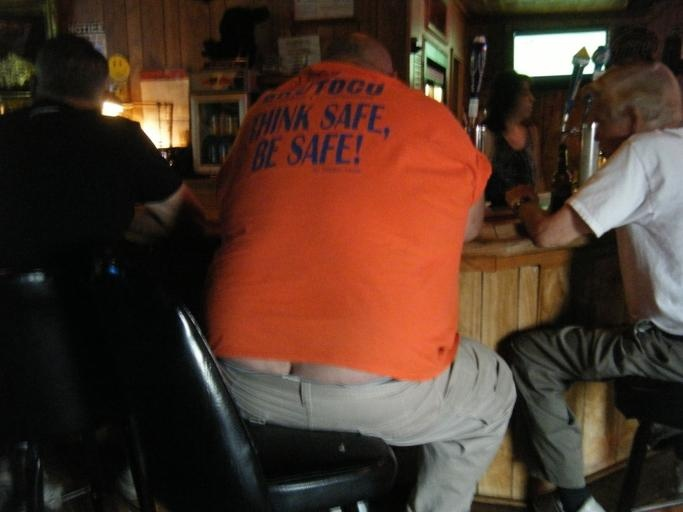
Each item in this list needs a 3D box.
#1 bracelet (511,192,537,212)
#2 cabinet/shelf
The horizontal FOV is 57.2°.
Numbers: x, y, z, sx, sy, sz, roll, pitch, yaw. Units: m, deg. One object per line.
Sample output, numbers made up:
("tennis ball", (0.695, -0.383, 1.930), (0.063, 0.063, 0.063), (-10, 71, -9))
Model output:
("bracelet", (0.679, -0.212, 2.312), (0.065, 0.020, 0.073), (-29, 19, 45))
("cabinet/shelf", (-0.962, -1.013, 5.019), (0.404, 0.654, 0.303), (3, 19, 1))
